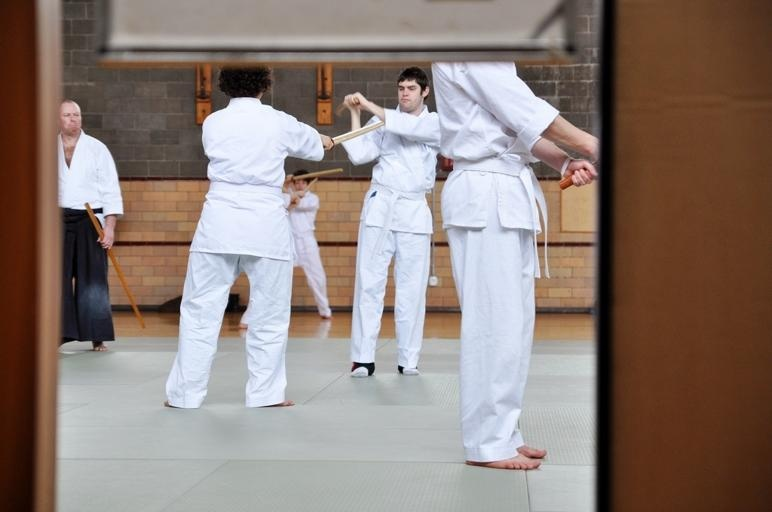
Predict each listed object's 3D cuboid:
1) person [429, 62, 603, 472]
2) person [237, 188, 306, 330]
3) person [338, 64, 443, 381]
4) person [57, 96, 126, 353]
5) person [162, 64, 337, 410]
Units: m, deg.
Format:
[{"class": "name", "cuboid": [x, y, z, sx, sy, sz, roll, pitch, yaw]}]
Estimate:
[{"class": "person", "cuboid": [0.480, 0.030, 4.179, 0.615, 1.551, 0.438, 0, 8, 6]}, {"class": "person", "cuboid": [-0.886, -0.019, 9.370, 0.755, 1.244, 0.328, 6, -4, 18]}, {"class": "person", "cuboid": [0.028, -0.210, 6.291, 0.554, 1.782, 0.690, 0, 8, 3]}, {"class": "person", "cuboid": [-1.977, -0.180, 7.121, 0.417, 1.680, 0.647, -2, 8, -7]}, {"class": "person", "cuboid": [-0.696, -0.081, 5.214, 0.799, 1.644, 0.412, -2, 8, -11]}]
